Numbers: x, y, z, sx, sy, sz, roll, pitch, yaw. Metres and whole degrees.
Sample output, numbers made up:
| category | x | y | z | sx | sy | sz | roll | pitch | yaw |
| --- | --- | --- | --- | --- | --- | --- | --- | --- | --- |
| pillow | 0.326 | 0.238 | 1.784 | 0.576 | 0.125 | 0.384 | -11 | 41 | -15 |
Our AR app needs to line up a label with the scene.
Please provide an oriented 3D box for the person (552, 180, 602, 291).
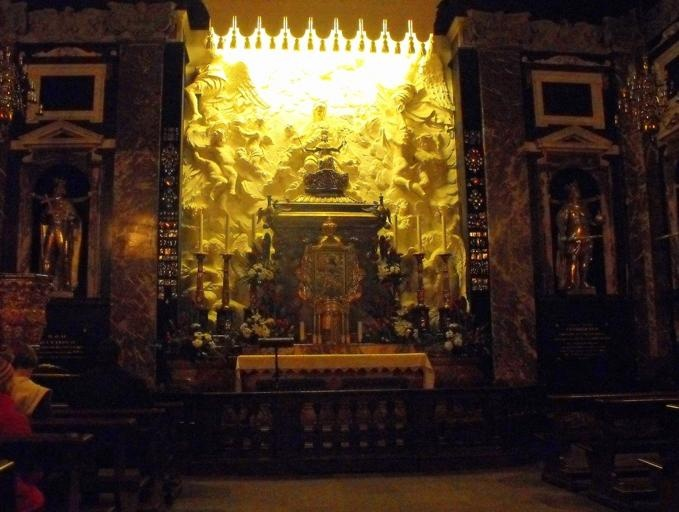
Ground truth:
| category | x | y | z | sx | sy | sz | roll | pitch | yaw |
| --- | --- | --- | --- | --- | --- | --- | --- | --- | --- |
| person | 3.712 | -0.264 | 12.571 | 0.716 | 1.746 | 0.565 | -2 | -7 | 12 |

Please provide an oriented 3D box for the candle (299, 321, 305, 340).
| category | x | y | z | sx | sy | sz | roll | pitch | yaw |
| --- | --- | --- | --- | --- | --- | --- | --- | --- | --- |
| candle | -0.550 | 1.118 | 11.960 | 0.101 | 0.317 | 0.285 | -1 | -7 | -3 |

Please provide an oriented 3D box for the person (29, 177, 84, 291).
| category | x | y | z | sx | sy | sz | roll | pitch | yaw |
| --- | --- | --- | --- | --- | --- | --- | --- | --- | --- |
| person | -4.187 | -0.297 | 12.124 | 0.713 | 1.772 | 0.344 | 1 | -7 | -20 |

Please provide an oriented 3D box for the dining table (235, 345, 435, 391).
| category | x | y | z | sx | sy | sz | roll | pitch | yaw |
| --- | --- | --- | --- | --- | --- | --- | --- | --- | --- |
| dining table | -0.069 | 1.601 | 11.202 | 2.709 | 0.496 | 0.530 | -1 | -6 | -1 |
